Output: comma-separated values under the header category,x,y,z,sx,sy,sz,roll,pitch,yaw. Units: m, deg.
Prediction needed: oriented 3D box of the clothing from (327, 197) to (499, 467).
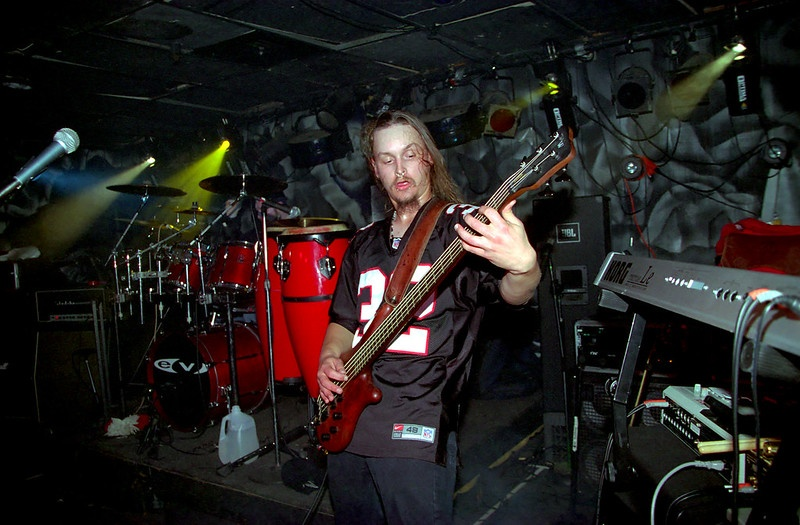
category,x,y,z,sx,sy,sz,roll,pitch,yaw
clothing,0.081,0.532,4.579,1.347,1.995,0.568,1,4,18

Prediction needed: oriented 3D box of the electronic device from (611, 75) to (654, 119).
category,x,y,z,sx,sy,sz,roll,pitch,yaw
electronic device,3.235,-2.233,8.078,0.576,0.229,0.682,-7,10,15

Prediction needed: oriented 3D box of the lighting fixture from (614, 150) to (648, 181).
category,x,y,z,sx,sy,sz,roll,pitch,yaw
lighting fixture,3.187,-1.324,7.808,0.366,0.357,0.365,1,3,20

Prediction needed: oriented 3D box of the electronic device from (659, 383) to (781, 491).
category,x,y,z,sx,sy,sz,roll,pitch,yaw
electronic device,2.626,1.256,4.491,0.862,0.426,1.375,1,2,6

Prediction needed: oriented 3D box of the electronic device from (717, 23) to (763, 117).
category,x,y,z,sx,sy,sz,roll,pitch,yaw
electronic device,4.201,-2.420,7.074,0.391,1.063,0.422,2,5,38
